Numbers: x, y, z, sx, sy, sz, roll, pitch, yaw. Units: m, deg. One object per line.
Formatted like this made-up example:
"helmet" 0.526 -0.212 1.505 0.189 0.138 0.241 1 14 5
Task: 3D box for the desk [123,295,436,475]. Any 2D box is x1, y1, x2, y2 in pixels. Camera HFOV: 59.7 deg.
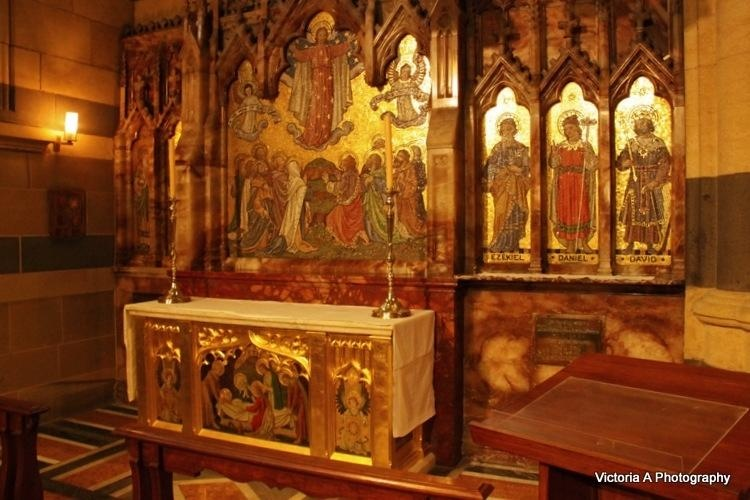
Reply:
"desk" -1.015 1.347 6.777 3.087 1.481 1.110 1 2 24

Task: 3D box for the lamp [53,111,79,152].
"lamp" -3.748 -1.428 7.942 0.266 0.485 0.269 -1 2 -21

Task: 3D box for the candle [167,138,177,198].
"candle" -2.127 -0.848 6.841 0.057 0.624 0.343 -1 2 -20
